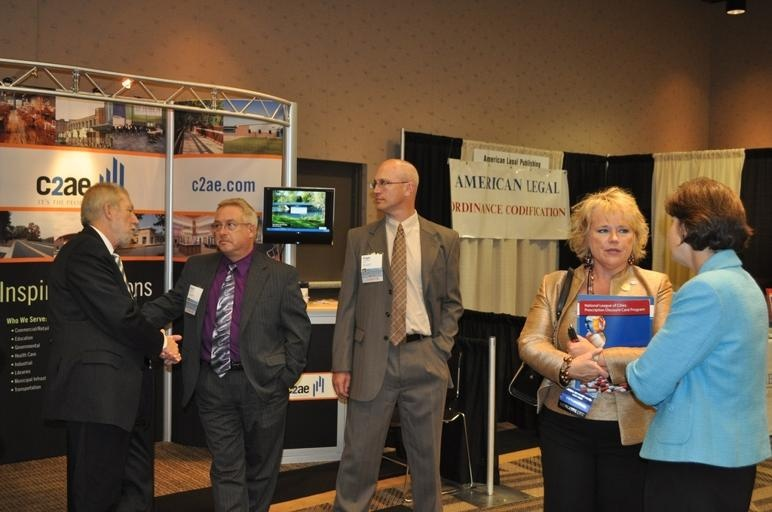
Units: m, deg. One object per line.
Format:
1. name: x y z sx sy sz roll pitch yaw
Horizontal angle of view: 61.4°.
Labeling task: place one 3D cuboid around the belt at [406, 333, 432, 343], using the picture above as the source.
1. belt: 0.213 0.556 4.410 0.194 0.061 0.018 -1 3 -29

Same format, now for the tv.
1. tv: -0.765 -0.345 5.613 0.478 0.390 0.051 1 -2 -2

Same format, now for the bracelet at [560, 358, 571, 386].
1. bracelet: 0.991 0.650 3.632 0.060 0.152 0.048 1 3 15

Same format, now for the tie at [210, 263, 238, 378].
1. tie: -1.108 0.441 4.438 0.169 0.744 0.213 -1 3 -14

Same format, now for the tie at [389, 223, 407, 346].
1. tie: 0.079 0.196 4.438 0.109 0.801 0.210 0 3 2
